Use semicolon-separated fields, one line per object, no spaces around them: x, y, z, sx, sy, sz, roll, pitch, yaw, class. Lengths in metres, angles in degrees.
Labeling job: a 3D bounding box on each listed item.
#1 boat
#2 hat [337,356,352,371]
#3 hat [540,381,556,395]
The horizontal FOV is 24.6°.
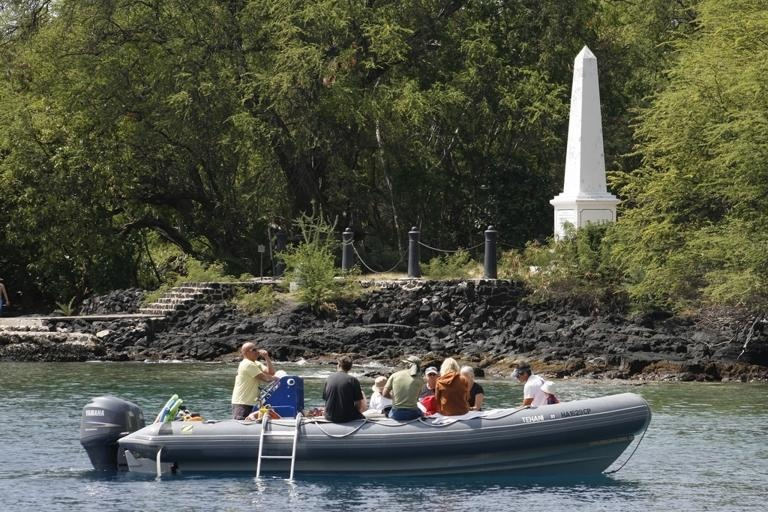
-0.501;5.739;54.852;17.389;2.640;5.037;-1;-10;1;boat
-1.141;3.197;52.913;0.346;0.451;0.454;-1;-3;3;hat
4.984;3.942;53.516;0.391;0.357;0.356;9;-26;12;hat
